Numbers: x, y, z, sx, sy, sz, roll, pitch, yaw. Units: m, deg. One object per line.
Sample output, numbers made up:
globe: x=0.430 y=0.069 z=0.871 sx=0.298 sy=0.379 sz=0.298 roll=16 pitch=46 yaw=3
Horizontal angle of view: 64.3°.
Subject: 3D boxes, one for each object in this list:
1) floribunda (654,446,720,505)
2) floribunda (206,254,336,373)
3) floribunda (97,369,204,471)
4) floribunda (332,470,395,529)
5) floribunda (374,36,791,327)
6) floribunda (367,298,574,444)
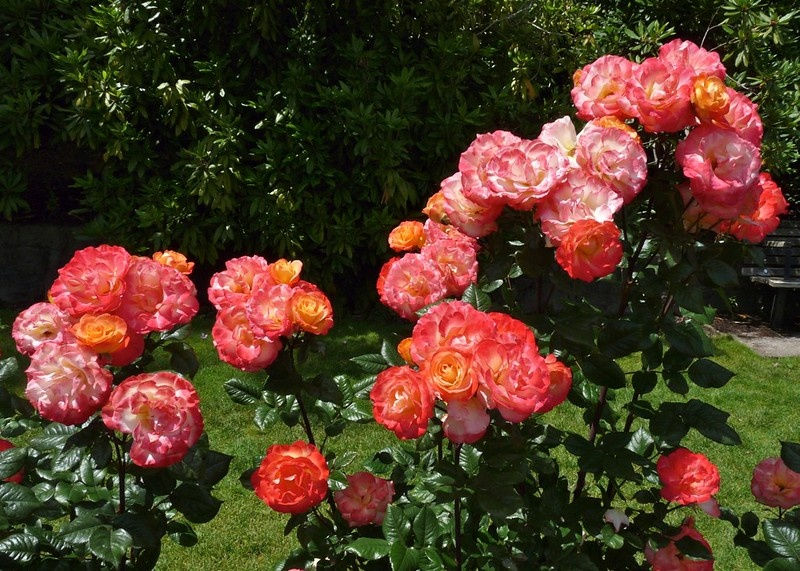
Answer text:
floribunda: x=0.910 y=0.599 z=2.015 sx=0.183 sy=0.171 sz=0.121 roll=16 pitch=19 yaw=22
floribunda: x=-0.390 y=0.140 z=1.857 sx=0.333 sy=0.197 sz=0.350 roll=12 pitch=37 yaw=-5
floribunda: x=-0.648 y=0.336 z=1.654 sx=0.247 sy=0.235 sz=0.150 roll=15 pitch=19 yaw=18
floribunda: x=-0.110 y=0.671 z=2.113 sx=0.178 sy=0.174 sz=0.088 roll=48 pitch=10 yaw=7
floribunda: x=0.545 y=-0.262 z=1.809 sx=1.115 sy=0.883 sz=0.599 roll=5 pitch=18 yaw=-10
floribunda: x=0.149 y=0.197 z=1.459 sx=0.382 sy=0.288 sz=0.350 roll=-3 pitch=46 yaw=8
